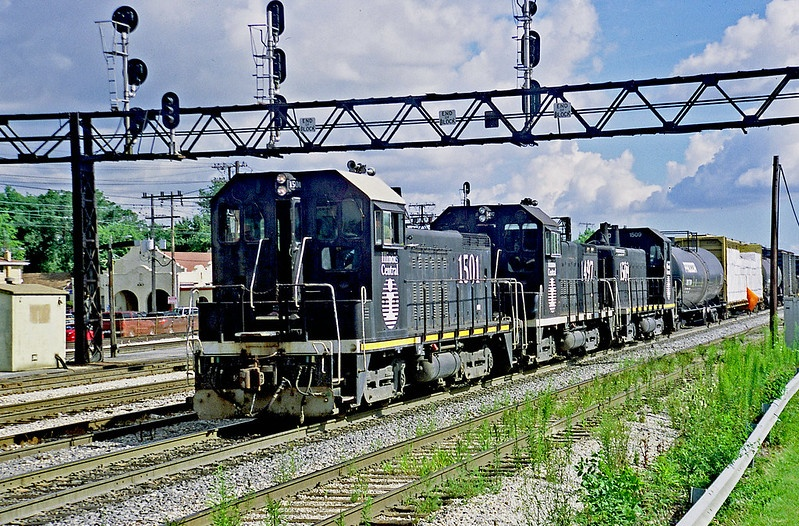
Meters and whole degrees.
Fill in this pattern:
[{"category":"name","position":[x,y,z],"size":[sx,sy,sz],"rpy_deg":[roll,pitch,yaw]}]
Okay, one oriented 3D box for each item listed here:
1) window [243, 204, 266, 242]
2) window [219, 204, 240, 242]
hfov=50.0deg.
[{"category":"window","position":[-3.365,-0.944,19.537],"size":[0.541,0.850,0.094],"rpy_deg":[-3,-3,22]},{"category":"window","position":[-4.127,-0.843,19.841],"size":[0.490,0.696,0.489],"rpy_deg":[9,-8,-37]}]
